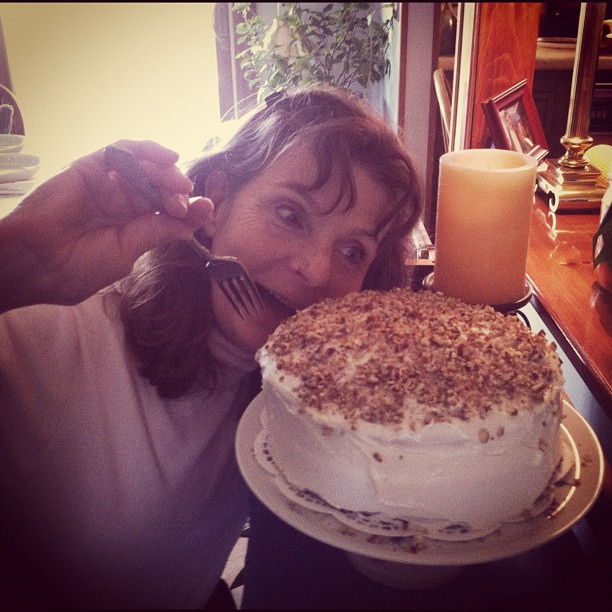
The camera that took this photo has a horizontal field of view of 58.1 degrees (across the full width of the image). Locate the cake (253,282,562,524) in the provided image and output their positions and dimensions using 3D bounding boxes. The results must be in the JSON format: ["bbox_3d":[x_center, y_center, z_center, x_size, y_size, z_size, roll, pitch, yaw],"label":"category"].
[{"bbox_3d":[0.141,0.105,0.706,0.363,0.160,0.409,4,18,9],"label":"cake"}]

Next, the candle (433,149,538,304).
[{"bbox_3d":[0.245,-0.110,0.794,0.151,0.203,0.151,-23,29,-40],"label":"candle"}]

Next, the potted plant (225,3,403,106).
[{"bbox_3d":[0.020,-0.321,0.698,0.239,0.125,0.046,-13,26,-15],"label":"potted plant"}]
